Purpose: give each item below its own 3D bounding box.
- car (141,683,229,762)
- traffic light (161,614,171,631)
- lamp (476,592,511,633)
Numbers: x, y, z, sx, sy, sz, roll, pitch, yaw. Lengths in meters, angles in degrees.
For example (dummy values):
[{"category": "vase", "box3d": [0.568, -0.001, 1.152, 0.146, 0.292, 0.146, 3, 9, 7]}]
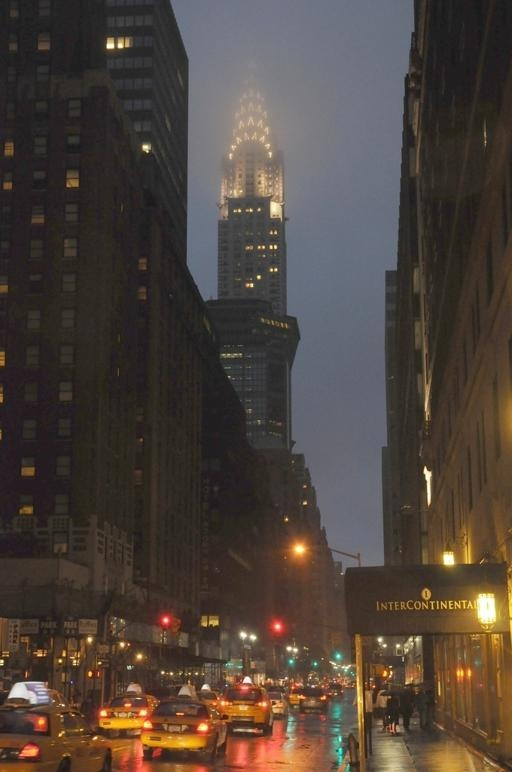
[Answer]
[{"category": "car", "box3d": [-1.730, 8.703, 29.280, 1.050, 1.181, 2.844, 1, -8, 5]}, {"category": "traffic light", "box3d": [-5.668, 14.998, 72.900, 0.625, 0.903, 2.020, 2, -24, -4]}, {"category": "lamp", "box3d": [4.933, 4.740, 23.855, 0.560, 1.455, 0.701, -1, -6, 8]}]
